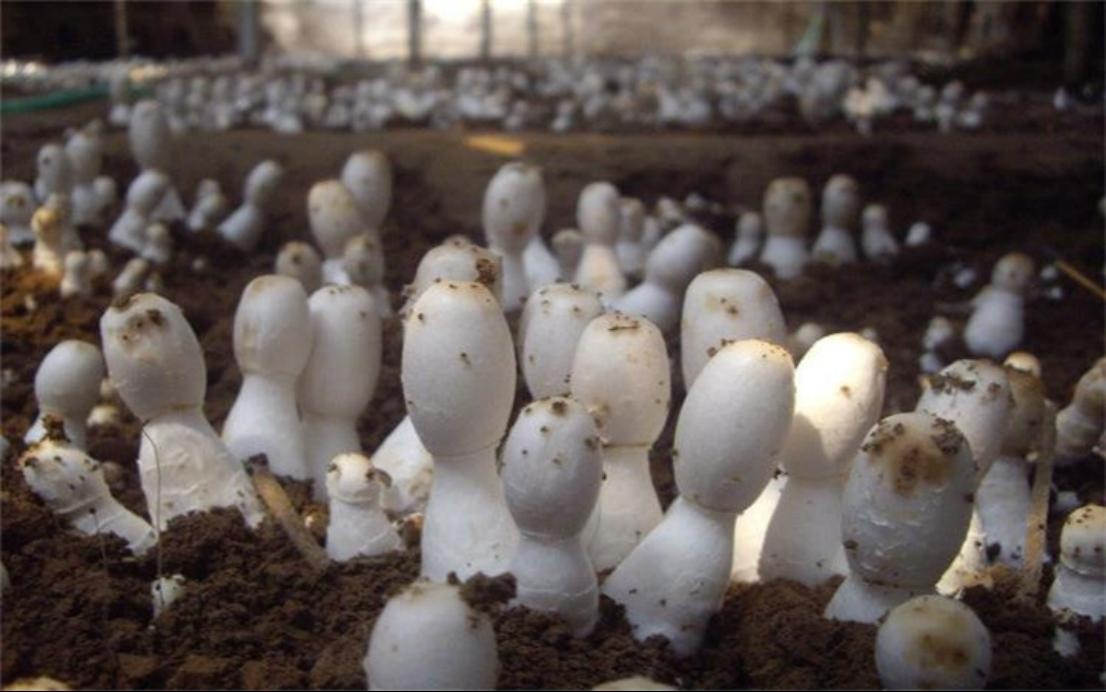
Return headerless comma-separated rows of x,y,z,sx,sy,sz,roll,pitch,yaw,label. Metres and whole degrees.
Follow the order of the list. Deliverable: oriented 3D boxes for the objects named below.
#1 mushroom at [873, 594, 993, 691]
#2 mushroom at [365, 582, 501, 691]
0.491,0.390,1.714,0.142,0.100,0.093,10,24,16,mushroom
-0.160,0.380,1.699,0.171,0.083,0.160,-12,27,-32,mushroom
